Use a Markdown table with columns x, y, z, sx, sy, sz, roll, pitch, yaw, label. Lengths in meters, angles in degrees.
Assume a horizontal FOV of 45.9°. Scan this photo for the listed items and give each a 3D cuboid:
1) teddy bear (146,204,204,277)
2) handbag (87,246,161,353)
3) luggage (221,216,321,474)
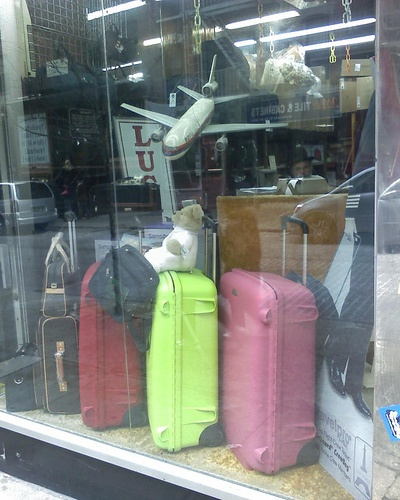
| x | y | z | sx | sy | sz | roll | pitch | yaw | label |
| --- | --- | --- | --- | --- | --- | --- | --- | --- | --- |
| -0.093 | -0.047 | 1.696 | 0.172 | 0.263 | 0.157 | 6 | 0 | -12 | teddy bear |
| -0.271 | 0.143 | 1.730 | 0.115 | 0.299 | 0.335 | -15 | 3 | -30 | handbag |
| 0.215 | 0.301 | 1.533 | 0.323 | 0.799 | 0.206 | -3 | 6 | 8 | luggage |
